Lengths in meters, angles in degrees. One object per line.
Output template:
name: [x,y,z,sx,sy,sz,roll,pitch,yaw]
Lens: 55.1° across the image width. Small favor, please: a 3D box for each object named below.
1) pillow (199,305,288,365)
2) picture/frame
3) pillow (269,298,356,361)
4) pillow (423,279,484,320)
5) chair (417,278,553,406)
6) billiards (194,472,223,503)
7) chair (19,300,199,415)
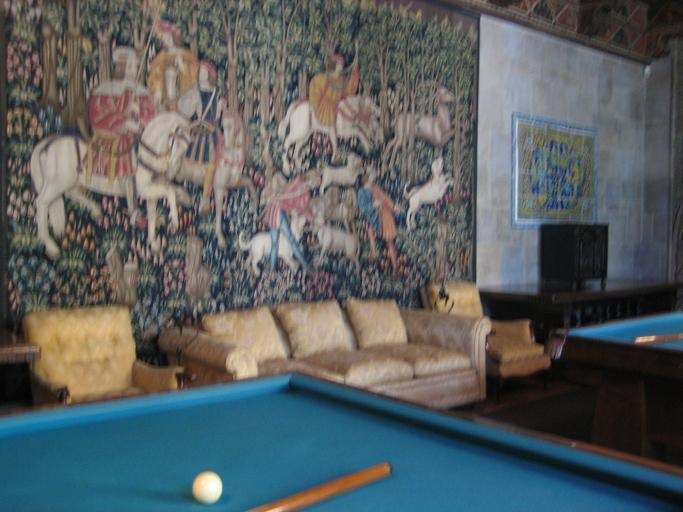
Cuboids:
pillow: [-0.620,0.591,4.439,0.594,0.349,0.328,-1,-2,-43]
picture/frame: [2.123,-0.616,6.484,1.096,0.956,0.027,2,1,-25]
pillow: [-0.191,0.562,4.713,0.396,0.423,0.101,1,-26,-38]
pillow: [0.927,0.438,5.480,0.317,0.369,0.102,8,-18,-26]
chair: [1.127,0.693,5.209,0.648,0.809,0.854,0,-3,-39]
billiards: [-0.424,0.719,2.126,0.073,0.105,0.080,2,6,23]
chair: [-1.415,0.724,3.776,0.646,0.762,0.844,-4,-4,39]
